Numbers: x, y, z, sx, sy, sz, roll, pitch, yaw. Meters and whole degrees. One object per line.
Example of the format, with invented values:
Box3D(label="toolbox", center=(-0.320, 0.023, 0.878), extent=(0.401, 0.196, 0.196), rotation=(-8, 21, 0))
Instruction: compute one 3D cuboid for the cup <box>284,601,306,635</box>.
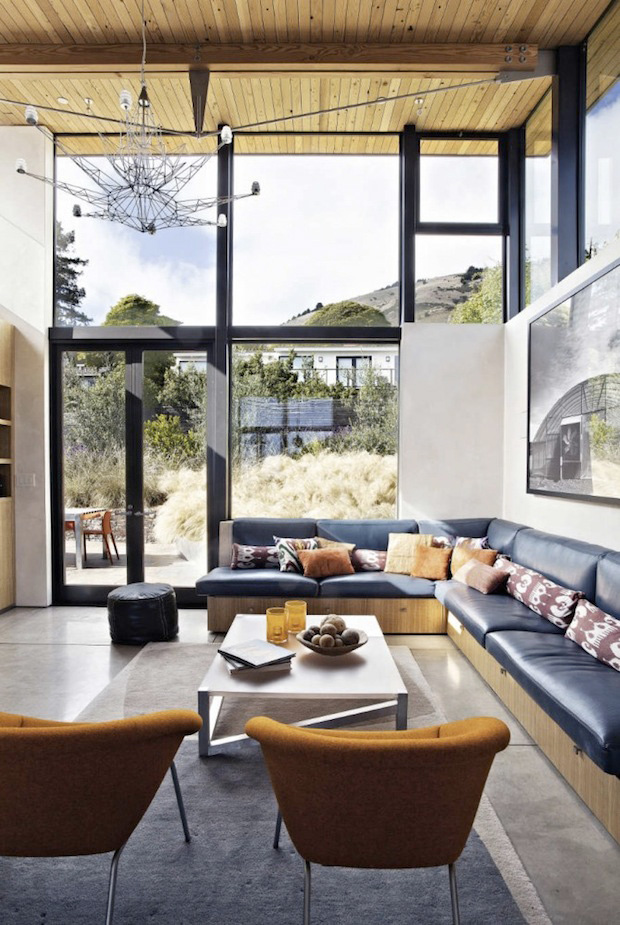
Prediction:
Box3D(label="cup", center=(-0.067, 0.726, 3.385), extent=(0.126, 0.153, 0.127), rotation=(1, -1, 0))

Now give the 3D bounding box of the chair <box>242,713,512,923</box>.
Box3D(label="chair", center=(0.151, 0.737, 1.609), extent=(0.503, 0.535, 0.465), rotation=(0, 37, 3))

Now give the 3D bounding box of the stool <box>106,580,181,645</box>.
Box3D(label="stool", center=(-1.046, 0.913, 4.511), extent=(0.337, 0.308, 0.349), rotation=(-2, 0, 22))

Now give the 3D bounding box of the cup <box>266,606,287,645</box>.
Box3D(label="cup", center=(-0.136, 0.736, 3.266), extent=(0.087, 0.155, 0.149), rotation=(0, -1, -1))

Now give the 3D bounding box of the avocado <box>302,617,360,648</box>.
Box3D(label="avocado", center=(0.096, 0.744, 3.124), extent=(0.137, 0.073, 0.132), rotation=(-2, -2, 18))
